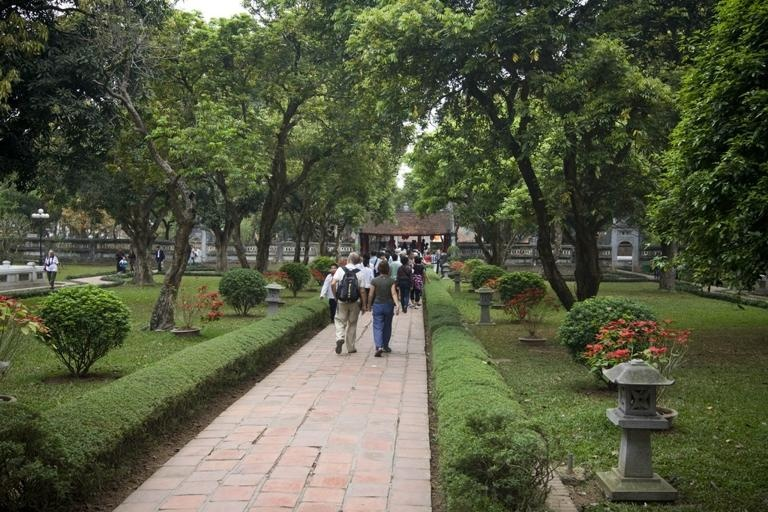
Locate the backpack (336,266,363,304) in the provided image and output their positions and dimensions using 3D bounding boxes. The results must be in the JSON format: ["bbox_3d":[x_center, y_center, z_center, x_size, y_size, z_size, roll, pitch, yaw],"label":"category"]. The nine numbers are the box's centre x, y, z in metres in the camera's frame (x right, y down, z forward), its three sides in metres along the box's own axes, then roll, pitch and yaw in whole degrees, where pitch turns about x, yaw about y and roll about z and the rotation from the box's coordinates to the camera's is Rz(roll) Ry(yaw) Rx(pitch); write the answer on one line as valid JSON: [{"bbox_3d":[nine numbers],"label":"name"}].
[{"bbox_3d":[-0.750,0.612,14.671,0.601,0.820,0.484,1,1,-1],"label":"backpack"}]

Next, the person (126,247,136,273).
[{"bbox_3d":[-14.688,0.181,37.230,0.326,1.375,1.774,0,-1,-22],"label":"person"}]

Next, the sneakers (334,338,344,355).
[{"bbox_3d":[-1.014,2.067,14.744,0.172,0.349,0.153,12,0,-18],"label":"sneakers"}]

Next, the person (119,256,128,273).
[{"bbox_3d":[-15.403,0.506,37.812,0.649,0.880,0.347,0,5,-8],"label":"person"}]

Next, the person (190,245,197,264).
[{"bbox_3d":[-14.135,-0.170,47.624,0.415,1.331,2.024,0,-1,-18],"label":"person"}]

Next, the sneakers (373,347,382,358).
[{"bbox_3d":[-0.130,2.192,14.590,0.157,0.133,0.316,0,-10,-4],"label":"sneakers"}]
